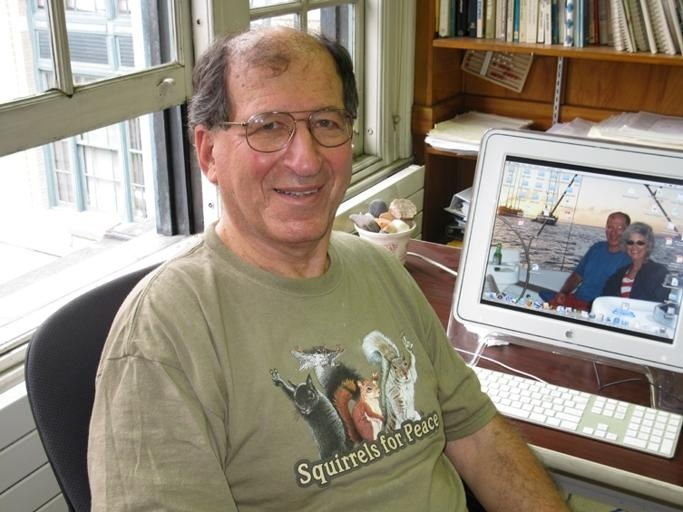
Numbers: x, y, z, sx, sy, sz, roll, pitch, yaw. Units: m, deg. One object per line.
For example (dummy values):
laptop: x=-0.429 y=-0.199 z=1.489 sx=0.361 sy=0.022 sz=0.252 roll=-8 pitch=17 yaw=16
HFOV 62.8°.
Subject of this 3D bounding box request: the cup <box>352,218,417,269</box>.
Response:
cup: x=0.143 y=-0.049 z=1.728 sx=0.143 sy=0.104 sz=0.140 roll=-2 pitch=25 yaw=1
